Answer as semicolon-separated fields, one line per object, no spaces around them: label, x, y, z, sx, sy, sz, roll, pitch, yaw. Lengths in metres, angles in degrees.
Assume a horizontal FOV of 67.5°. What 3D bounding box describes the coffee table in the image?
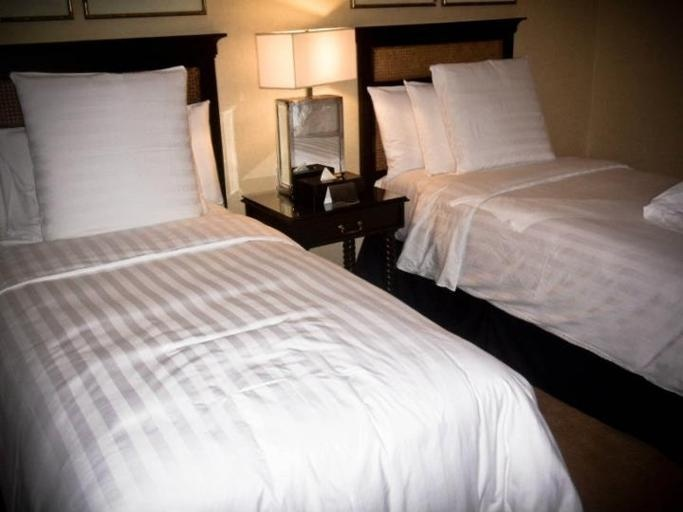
coffee table;-0.048;0.044;2.991;0.714;0.710;0.618;-11;14;-23

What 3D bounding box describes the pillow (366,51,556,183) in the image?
pillow;0.874;-0.861;3.267;0.867;0.838;0.241;-11;1;-24

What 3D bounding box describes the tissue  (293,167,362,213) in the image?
tissue ;-0.097;-0.364;2.790;0.352;0.205;0.258;-14;24;-34

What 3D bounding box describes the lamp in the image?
lamp;-0.160;-0.801;2.848;0.411;0.763;0.239;-6;12;-7
